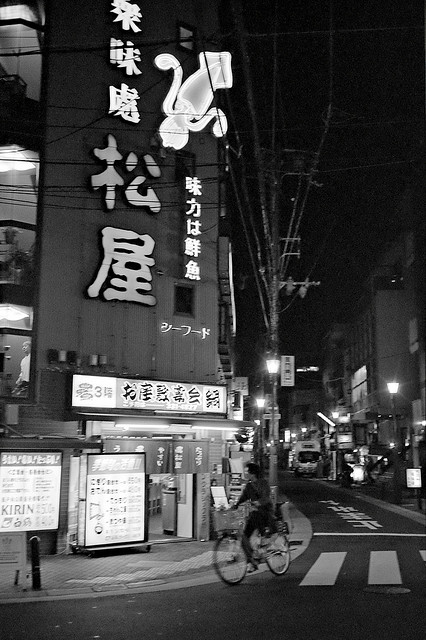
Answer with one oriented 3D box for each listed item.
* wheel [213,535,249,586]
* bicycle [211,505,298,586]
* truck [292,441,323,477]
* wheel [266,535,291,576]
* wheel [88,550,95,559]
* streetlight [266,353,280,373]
[{"bbox_3d":[0.266,3.706,11.023,0.712,0.786,0.165,-5,-9,-39],"label":"wheel"},{"bbox_3d":[0.666,3.606,11.589,1.742,1.172,0.654,10,-21,-39],"label":"bicycle"},{"bbox_3d":[9.220,13.704,70.050,2.310,3.504,3.881,0,-11,6],"label":"truck"},{"bbox_3d":[1.085,3.923,11.837,0.181,0.632,0.764,-4,-12,26],"label":"wheel"},{"bbox_3d":[-2.412,4.693,14.196,0.091,0.185,0.155,2,1,5],"label":"wheel"},{"bbox_3d":[2.058,1.509,24.709,0.527,0.625,0.578,0,-6,0],"label":"streetlight"}]
